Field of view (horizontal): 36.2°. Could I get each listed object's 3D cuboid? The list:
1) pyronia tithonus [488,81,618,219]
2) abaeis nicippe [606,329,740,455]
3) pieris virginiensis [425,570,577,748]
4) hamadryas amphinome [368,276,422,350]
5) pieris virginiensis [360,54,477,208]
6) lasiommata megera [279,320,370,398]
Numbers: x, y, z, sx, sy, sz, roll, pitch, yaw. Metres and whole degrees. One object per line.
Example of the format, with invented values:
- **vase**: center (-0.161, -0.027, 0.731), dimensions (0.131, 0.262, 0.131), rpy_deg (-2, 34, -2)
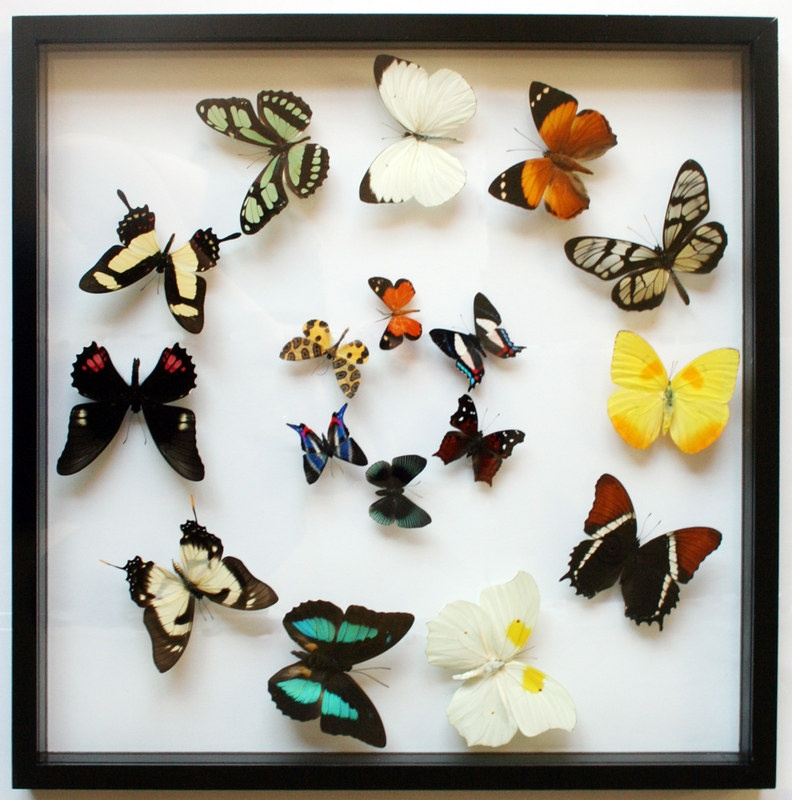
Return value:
- **pyronia tithonus**: center (0.305, -0.481, 2.347), dimensions (0.212, 0.316, 0.075), rpy_deg (25, 7, -2)
- **abaeis nicippe**: center (0.533, -0.010, 2.351), dimensions (0.241, 0.210, 0.054), rpy_deg (5, -1, -9)
- **pieris virginiensis**: center (0.202, 0.498, 2.338), dimensions (0.285, 0.313, 0.084), rpy_deg (5, -1, 3)
- **hamadryas amphinome**: center (0.004, -0.175, 2.351), dimensions (0.094, 0.193, 0.044), rpy_deg (-8, -5, 8)
- **pieris virginiensis**: center (0.044, -0.512, 2.346), dimensions (0.210, 0.279, 0.040), rpy_deg (4, -1, -3)
- **lasiommata megera**: center (-0.138, -0.079, 2.361), dimensions (0.170, 0.146, 0.029), rpy_deg (5, -1, -8)
